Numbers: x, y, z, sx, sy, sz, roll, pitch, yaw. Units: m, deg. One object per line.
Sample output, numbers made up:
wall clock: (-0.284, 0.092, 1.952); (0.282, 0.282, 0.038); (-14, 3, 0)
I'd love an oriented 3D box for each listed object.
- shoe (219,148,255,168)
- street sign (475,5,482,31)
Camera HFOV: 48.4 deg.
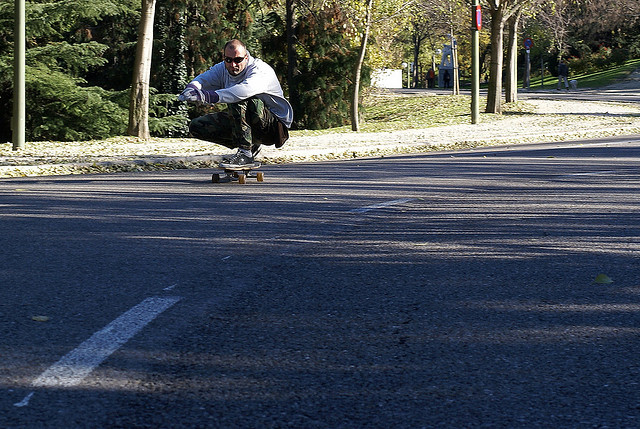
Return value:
shoe: (-1.437, -0.972, 12.703); (0.776, 0.251, 0.274); (1, 6, -17)
street sign: (5.981, -7.499, 27.016); (0.187, 0.843, 0.316); (0, 10, 22)
